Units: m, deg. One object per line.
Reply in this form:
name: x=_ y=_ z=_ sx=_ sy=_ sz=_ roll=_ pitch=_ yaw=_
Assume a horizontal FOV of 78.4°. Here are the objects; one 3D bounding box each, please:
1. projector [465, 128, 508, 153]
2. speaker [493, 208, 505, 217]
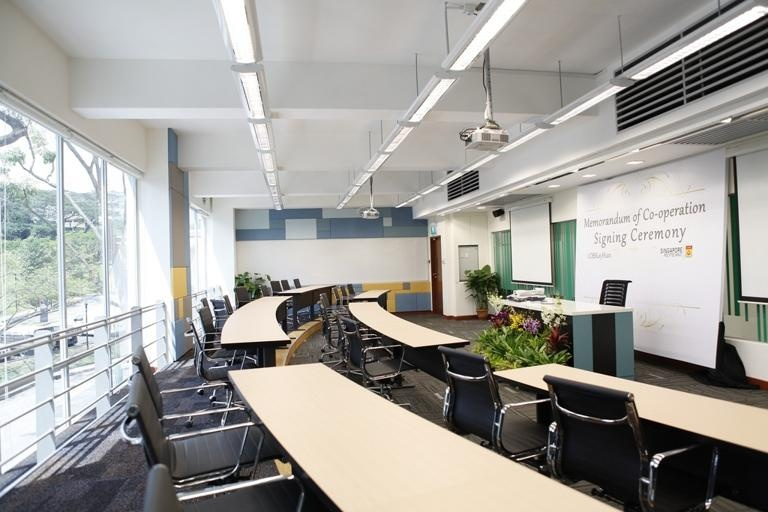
projector: x=1.277 y=-1.452 z=5.822 sx=0.479 sy=0.252 sz=0.355 roll=-2 pitch=14 yaw=-10
speaker: x=3.088 y=-1.163 z=12.541 sx=0.189 sy=0.129 sz=0.199 roll=-10 pitch=-3 yaw=-29
